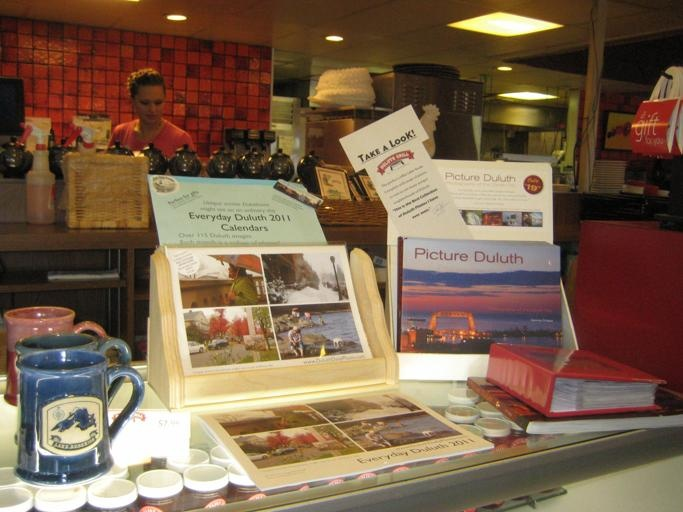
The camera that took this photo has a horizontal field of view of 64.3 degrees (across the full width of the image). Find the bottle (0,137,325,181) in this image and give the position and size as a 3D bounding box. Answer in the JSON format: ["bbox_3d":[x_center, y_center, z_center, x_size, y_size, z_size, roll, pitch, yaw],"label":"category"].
[{"bbox_3d":[-0.835,-0.432,2.465,1.463,0.229,0.384,-1,8,2],"label":"bottle"}]

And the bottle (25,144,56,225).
[{"bbox_3d":[-1.277,-0.298,2.313,0.110,0.332,0.296,-9,11,-36],"label":"bottle"}]

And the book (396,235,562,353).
[{"bbox_3d":[0.244,0.079,1.000,0.272,0.154,0.034,1,-3,-3],"label":"book"}]

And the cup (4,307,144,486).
[{"bbox_3d":[-0.296,0.185,0.688,0.132,0.158,0.204,-1,-2,35],"label":"cup"}]
